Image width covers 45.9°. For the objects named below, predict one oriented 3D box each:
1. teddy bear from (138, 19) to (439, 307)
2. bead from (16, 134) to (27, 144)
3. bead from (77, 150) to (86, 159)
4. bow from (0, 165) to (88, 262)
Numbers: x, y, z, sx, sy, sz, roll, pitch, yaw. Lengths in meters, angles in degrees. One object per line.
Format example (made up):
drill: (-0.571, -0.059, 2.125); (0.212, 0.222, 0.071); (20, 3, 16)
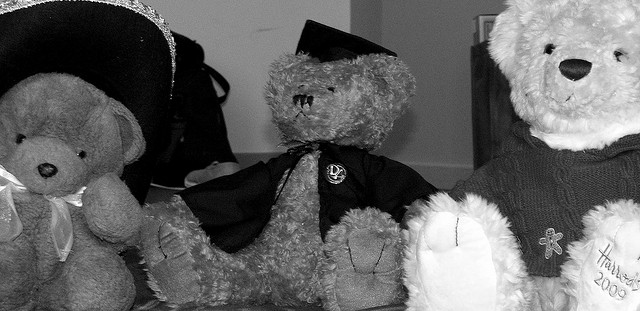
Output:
teddy bear: (-0.091, 0.020, 2.298); (0.878, 0.865, 0.408); (-1, 9, 6)
bead: (-0.857, -0.047, 2.179); (0.027, 0.027, 0.021); (6, 11, 43)
bead: (-0.694, -0.002, 2.213); (0.021, 0.012, 0.006); (9, -5, -33)
bow: (-0.798, 0.170, 2.164); (0.377, 0.249, 0.024); (2, 0, 1)
